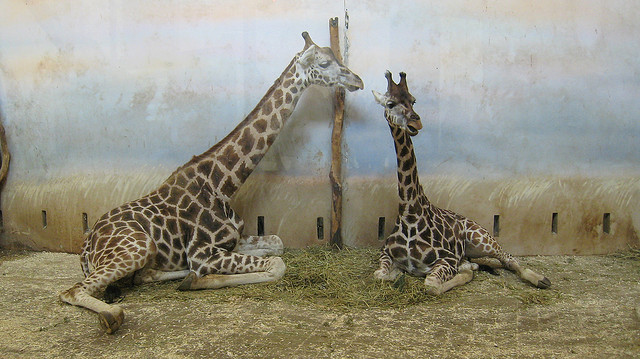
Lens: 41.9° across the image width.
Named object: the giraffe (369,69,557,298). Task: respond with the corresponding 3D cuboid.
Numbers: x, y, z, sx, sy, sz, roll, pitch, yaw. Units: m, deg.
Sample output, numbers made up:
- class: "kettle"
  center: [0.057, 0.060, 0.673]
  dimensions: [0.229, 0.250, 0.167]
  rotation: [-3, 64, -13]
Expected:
- class: "giraffe"
  center: [1.816, 0.014, 12.492]
  dimensions: [2.061, 3.223, 1.065]
  rotation: [0, 11, 3]
